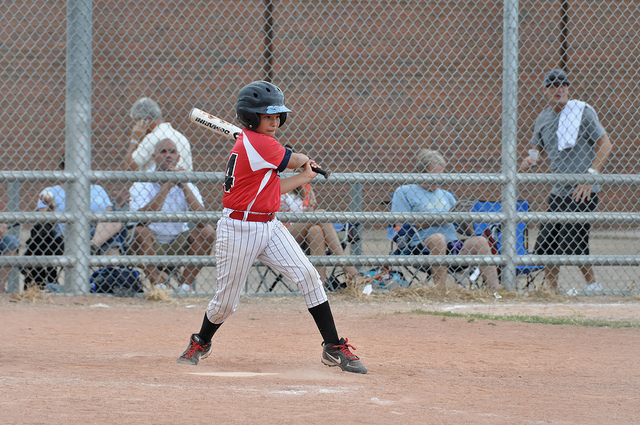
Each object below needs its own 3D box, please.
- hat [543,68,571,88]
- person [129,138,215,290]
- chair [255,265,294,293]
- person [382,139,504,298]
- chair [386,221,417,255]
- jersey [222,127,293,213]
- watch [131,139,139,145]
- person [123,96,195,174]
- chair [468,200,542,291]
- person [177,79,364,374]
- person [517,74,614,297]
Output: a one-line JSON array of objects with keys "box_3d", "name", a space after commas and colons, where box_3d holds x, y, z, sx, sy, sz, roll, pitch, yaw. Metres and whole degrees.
[{"box_3d": [2.558, -1.466, 10.557, 0.251, 0.209, 0.281, 0, -3, 8], "name": "hat"}, {"box_3d": [-1.642, 0.041, 10.088, 0.964, 1.607, 0.958, 2, -5, -38], "name": "person"}, {"box_3d": [-0.496, 0.706, 10.197, 0.304, 0.389, 0.343, -16, -22, 42], "name": "chair"}, {"box_3d": [1.282, 0.098, 10.281, 1.237, 1.573, 0.938, 0, -2, 3], "name": "person"}, {"box_3d": [0.831, 0.246, 10.322, 0.266, 0.314, 0.357, 3, 3, 38], "name": "chair"}, {"box_3d": [-0.606, -0.386, 8.434, 0.659, 0.777, 0.661, 3, 4, -20], "name": "jersey"}, {"box_3d": [-1.957, -0.753, 10.288, 0.054, 0.040, 0.055, 1, -3, -29], "name": "watch"}, {"box_3d": [-1.787, -0.847, 10.707, 0.481, 1.236, 0.459, 8, -36, -10], "name": "person"}, {"box_3d": [1.946, 0.373, 10.552, 0.917, 1.210, 0.901, 0, -2, -10], "name": "chair"}, {"box_3d": [-0.478, 0.116, 8.252, 1.386, 2.421, 0.359, 1, -2, -10], "name": "person"}, {"box_3d": [2.735, -0.292, 10.706, 0.895, 2.382, 1.500, -1, -3, 16], "name": "person"}]
